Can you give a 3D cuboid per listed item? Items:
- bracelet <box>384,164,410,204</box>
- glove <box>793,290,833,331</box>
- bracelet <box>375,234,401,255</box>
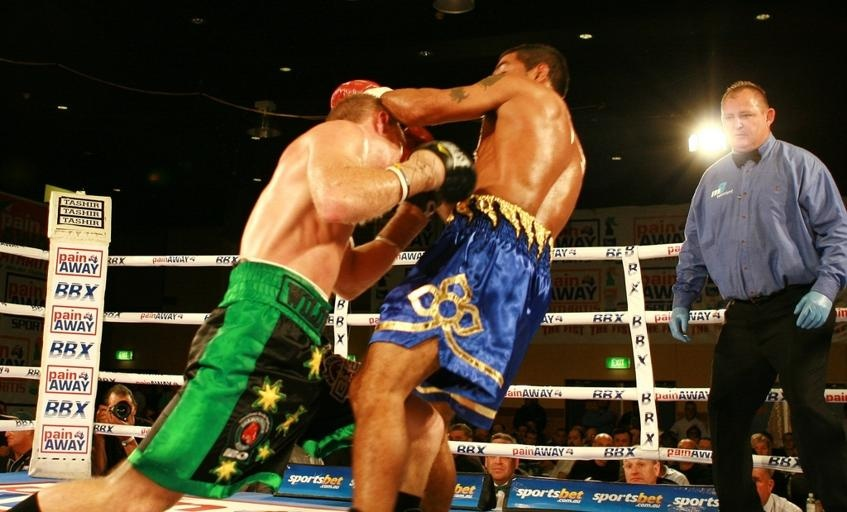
[{"bbox_3d":[-0.164,-0.475,5.216,0.152,0.249,0.079,3,-13,-5],"label":"bracelet"},{"bbox_3d":[2.901,0.403,5.992,0.257,0.282,0.125,-3,-14,21],"label":"glove"},{"bbox_3d":[-0.246,-0.080,5.781,0.113,0.143,0.151,-11,-13,27],"label":"bracelet"}]
